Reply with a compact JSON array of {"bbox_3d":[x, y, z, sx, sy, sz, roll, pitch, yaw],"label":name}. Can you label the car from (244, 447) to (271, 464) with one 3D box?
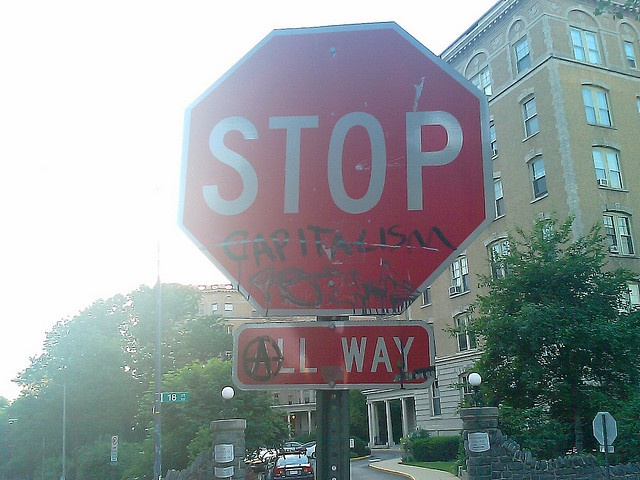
[{"bbox_3d":[-3.230,11.099,35.831,1.113,1.123,3.121,0,-20,-5],"label":"car"}]
